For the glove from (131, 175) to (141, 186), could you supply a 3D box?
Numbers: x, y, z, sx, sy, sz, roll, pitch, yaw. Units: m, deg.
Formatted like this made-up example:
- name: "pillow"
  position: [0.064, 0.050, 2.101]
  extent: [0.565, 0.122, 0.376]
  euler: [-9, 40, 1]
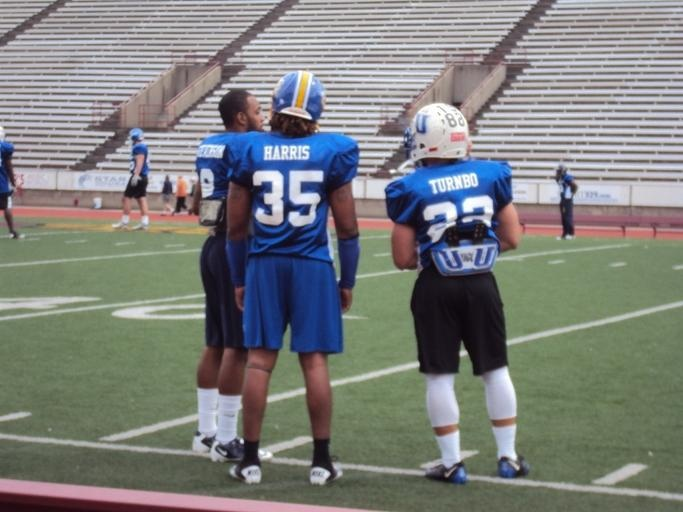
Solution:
- name: "glove"
  position: [-4.031, -1.490, 19.601]
  extent: [0.147, 0.203, 0.073]
  euler: [7, -39, -4]

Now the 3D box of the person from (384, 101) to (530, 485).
- name: "person"
  position: [0.806, 0.243, 6.980]
  extent: [0.990, 2.560, 0.710]
  euler: [1, 10, 2]

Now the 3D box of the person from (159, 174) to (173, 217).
- name: "person"
  position: [-4.712, -1.681, 27.149]
  extent: [0.244, 1.037, 0.586]
  euler: [-1, 10, -6]

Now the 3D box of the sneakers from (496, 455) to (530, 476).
- name: "sneakers"
  position: [1.208, 1.479, 6.985]
  extent: [0.133, 0.082, 0.175]
  euler: [0, 0, 2]

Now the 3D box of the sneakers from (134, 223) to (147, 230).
- name: "sneakers"
  position: [-4.266, -0.630, 21.085]
  extent: [0.352, 0.155, 0.132]
  euler: [4, 3, 15]

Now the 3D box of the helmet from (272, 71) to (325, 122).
- name: "helmet"
  position: [-0.295, -1.138, 7.037]
  extent: [0.289, 0.295, 0.389]
  euler: [12, 35, -9]

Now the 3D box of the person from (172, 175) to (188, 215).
- name: "person"
  position: [-4.444, -1.695, 27.768]
  extent: [0.389, 1.125, 1.681]
  euler: [-1, 11, -9]

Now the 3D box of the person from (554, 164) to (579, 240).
- name: "person"
  position: [4.809, -1.158, 21.253]
  extent: [0.407, 1.534, 1.539]
  euler: [3, 11, 13]

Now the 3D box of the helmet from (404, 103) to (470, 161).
- name: "helmet"
  position: [0.683, -0.890, 7.128]
  extent: [0.345, 0.364, 0.461]
  euler: [0, 10, -10]

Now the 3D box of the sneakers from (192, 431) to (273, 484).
- name: "sneakers"
  position: [-0.775, 1.467, 7.260]
  extent: [0.618, 0.284, 0.222]
  euler: [3, -3, 3]

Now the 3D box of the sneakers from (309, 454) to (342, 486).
- name: "sneakers"
  position: [-0.102, 1.500, 6.906]
  extent: [0.107, 0.122, 0.285]
  euler: [0, 2, 27]

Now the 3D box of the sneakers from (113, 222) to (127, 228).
- name: "sneakers"
  position: [-4.706, -0.669, 21.273]
  extent: [0.325, 0.148, 0.134]
  euler: [5, 7, 15]

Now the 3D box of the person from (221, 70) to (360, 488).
- name: "person"
  position: [-0.320, 0.353, 6.900]
  extent: [0.908, 2.373, 0.622]
  euler: [-1, 10, -8]

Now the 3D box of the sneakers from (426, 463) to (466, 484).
- name: "sneakers"
  position: [0.743, 1.505, 6.951]
  extent: [0.281, 0.133, 0.115]
  euler: [4, -4, 28]
